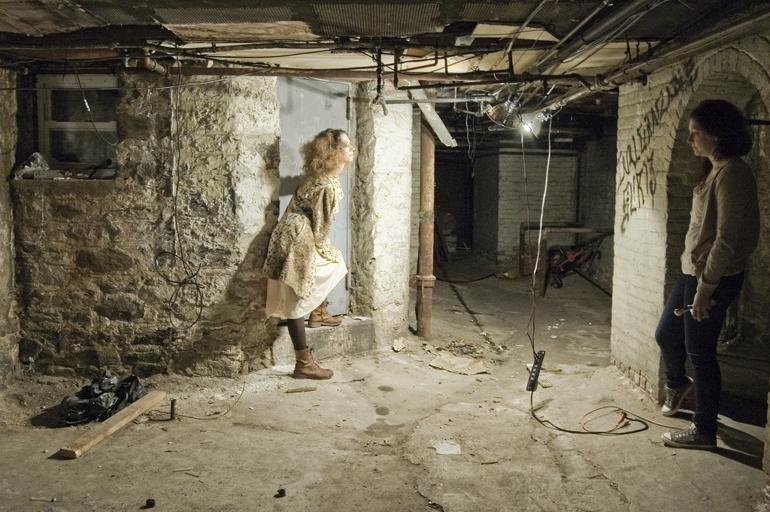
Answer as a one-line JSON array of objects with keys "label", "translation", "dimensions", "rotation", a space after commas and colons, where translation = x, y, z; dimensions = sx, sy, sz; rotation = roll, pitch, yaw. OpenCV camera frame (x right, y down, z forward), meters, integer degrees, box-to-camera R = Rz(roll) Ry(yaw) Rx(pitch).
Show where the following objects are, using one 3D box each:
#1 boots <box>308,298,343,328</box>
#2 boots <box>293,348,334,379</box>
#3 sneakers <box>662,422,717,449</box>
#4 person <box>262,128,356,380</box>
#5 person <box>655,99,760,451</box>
[{"label": "boots", "translation": [-0.671, 0.736, 7.705], "dimensions": [0.541, 0.363, 0.209], "rotation": [0, 6, -23]}, {"label": "boots", "translation": [-0.844, 1.232, 7.178], "dimensions": [0.556, 0.333, 0.210], "rotation": [13, -11, -41]}, {"label": "sneakers", "translation": [2.734, 1.654, 5.846], "dimensions": [0.512, 0.191, 0.187], "rotation": [3, -3, 16]}, {"label": "person", "translation": [-0.861, -0.031, 7.093], "dimensions": [0.708, 2.769, 0.959], "rotation": [6, 12, 20]}, {"label": "person", "translation": [2.898, 0.161, 5.747], "dimensions": [0.698, 3.137, 0.692], "rotation": [5, 12, 16]}]
